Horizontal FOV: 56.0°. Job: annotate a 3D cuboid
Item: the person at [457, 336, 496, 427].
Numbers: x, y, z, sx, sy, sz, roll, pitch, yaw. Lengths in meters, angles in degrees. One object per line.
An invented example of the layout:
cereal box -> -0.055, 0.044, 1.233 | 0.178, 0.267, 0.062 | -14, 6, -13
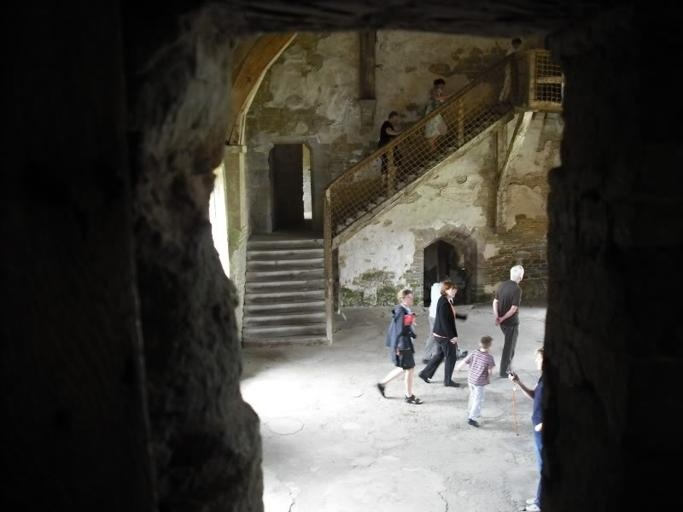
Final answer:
person -> 1.533, 1.378, 7.294 | 0.352, 1.122, 0.705 | 0, 8, 10

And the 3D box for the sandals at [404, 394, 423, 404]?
sandals -> 0.908, 1.797, 8.041 | 0.172, 0.074, 0.088 | 0, 8, 6

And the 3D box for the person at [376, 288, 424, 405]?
person -> 0.733, 1.103, 8.267 | 0.548, 1.474, 0.935 | -1, 8, 2
